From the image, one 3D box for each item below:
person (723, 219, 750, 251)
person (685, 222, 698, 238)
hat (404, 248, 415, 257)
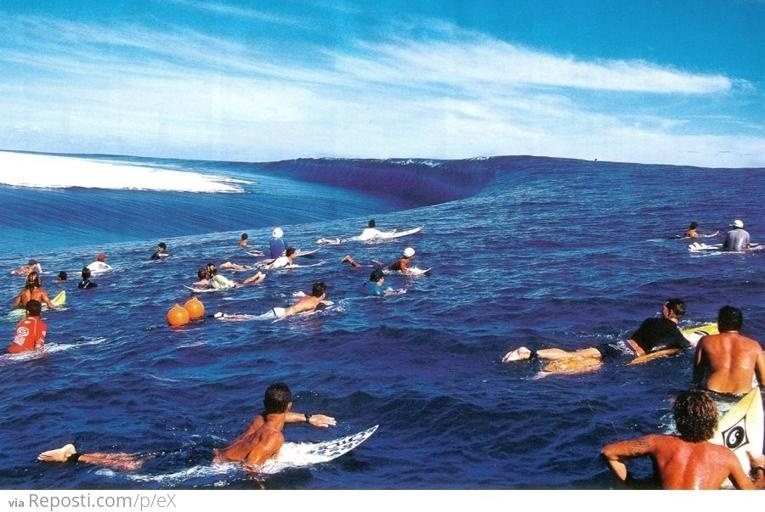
[{"bbox_3d":[11.928,-0.673,19.562,0.681,1.036,0.970,-1,4,44],"label":"person"},{"bbox_3d":[11.694,-0.988,21.864,0.401,0.572,1.028,-2,2,28],"label":"person"},{"bbox_3d":[0.864,-0.120,18.541,0.384,0.151,0.413,3,9,7],"label":"hat"}]
